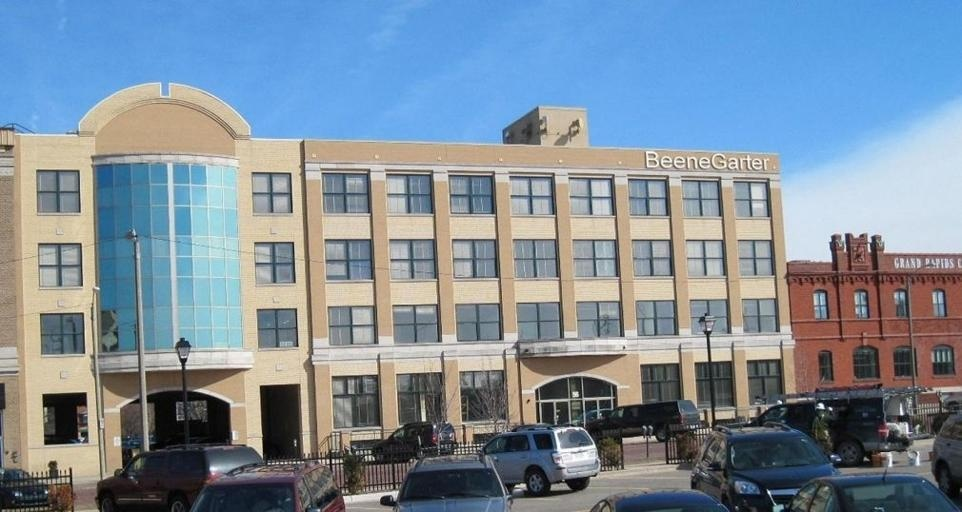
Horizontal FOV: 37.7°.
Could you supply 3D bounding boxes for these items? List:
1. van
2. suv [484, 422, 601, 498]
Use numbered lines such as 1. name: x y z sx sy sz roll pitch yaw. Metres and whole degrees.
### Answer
1. van: 12.958 13.112 111.511 8.074 3.180 2.512 -6 -11 11
2. suv: 4.213 13.504 92.717 7.429 2.773 4.088 0 -2 38
